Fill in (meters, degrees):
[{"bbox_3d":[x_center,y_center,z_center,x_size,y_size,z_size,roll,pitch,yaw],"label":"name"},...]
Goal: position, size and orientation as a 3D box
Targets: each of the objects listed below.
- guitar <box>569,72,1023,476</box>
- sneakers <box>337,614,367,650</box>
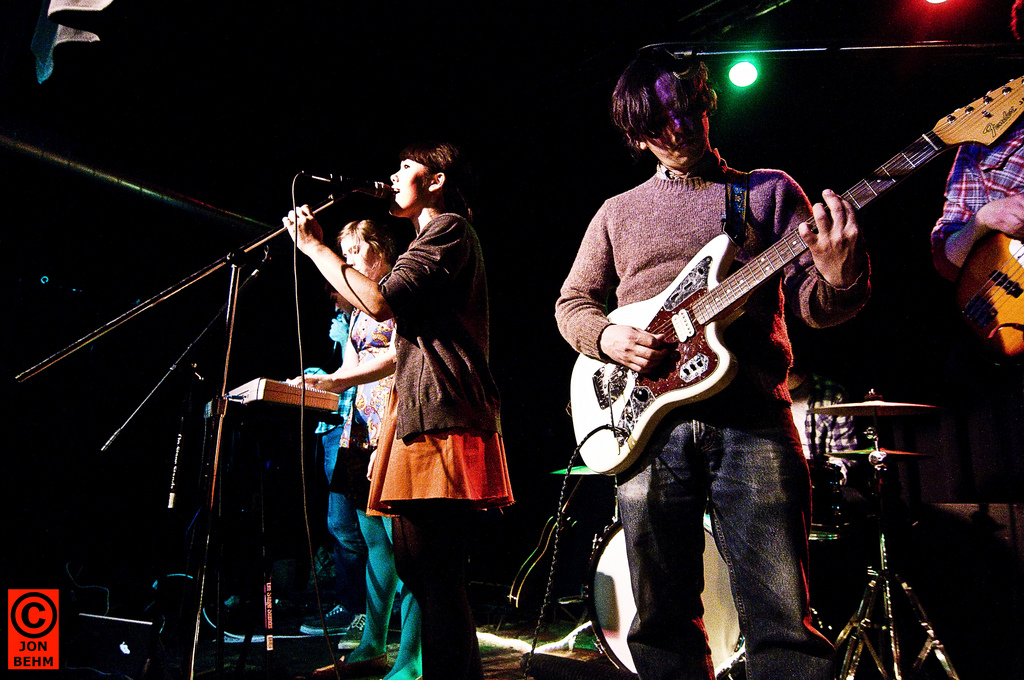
[{"bbox_3d":[1.893,-0.357,4.932,3.232,1.060,0.442,-41,-32,21],"label":"guitar"},{"bbox_3d":[-1.159,2.095,5.852,0.156,0.195,0.497,2,-30,-13],"label":"sneakers"}]
